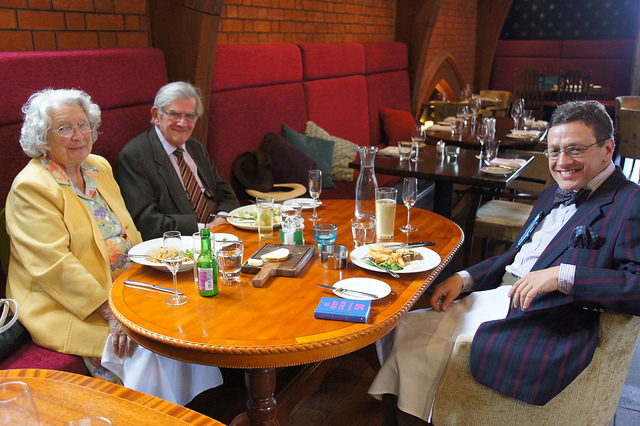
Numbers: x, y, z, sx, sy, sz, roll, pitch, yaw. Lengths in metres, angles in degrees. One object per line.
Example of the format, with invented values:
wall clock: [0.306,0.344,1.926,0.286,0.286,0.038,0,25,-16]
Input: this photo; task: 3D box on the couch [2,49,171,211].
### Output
couch: [-1.411,-0.475,2.647,0.307,0.835,0.955,11,17,33]

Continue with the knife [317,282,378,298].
knife: [0.123,0.334,1.903,0.224,0.042,0.017,10,2,15]

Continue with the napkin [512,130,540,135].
napkin: [2.402,-0.938,5.177,0.340,0.028,0.299,3,18,9]

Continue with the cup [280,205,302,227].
cup: [-0.169,0.012,2.428,0.137,0.105,0.111,1,13,19]

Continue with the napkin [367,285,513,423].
napkin: [0.516,0.553,2.078,0.527,0.219,0.703,22,41,36]

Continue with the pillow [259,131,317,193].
pillow: [-0.317,-0.468,3.987,0.516,0.463,0.492,3,18,9]

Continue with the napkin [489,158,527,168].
napkin: [1.669,-0.451,3.949,0.252,0.039,0.375,11,21,33]

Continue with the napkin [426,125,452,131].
napkin: [1.436,-1.023,5.323,0.269,0.047,0.300,6,18,19]

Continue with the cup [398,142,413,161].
cup: [0.768,-0.550,4.011,0.150,0.166,0.147,-1,11,0]

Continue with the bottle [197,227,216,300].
bottle: [-0.488,0.207,1.885,0.076,0.293,0.132,-6,19,-17]

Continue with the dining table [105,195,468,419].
dining table: [-0.149,0.464,2.095,0.702,0.387,1.115,10,25,24]

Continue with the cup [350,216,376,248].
cup: [0.223,0.099,2.358,0.141,0.152,0.132,0,13,0]

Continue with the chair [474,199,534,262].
chair: [1.654,0.148,3.965,0.529,0.377,0.793,10,21,34]

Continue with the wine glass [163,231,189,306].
wine glass: [-0.638,0.224,1.925,0.098,0.252,0.287,-7,19,-18]

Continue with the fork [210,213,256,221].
fork: [-0.530,0.025,2.752,0.030,0.031,0.288,-34,-20,20]

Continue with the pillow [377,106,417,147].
pillow: [0.977,-1.151,5.848,0.297,0.527,0.602,21,30,32]

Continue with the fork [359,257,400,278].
fork: [0.282,0.257,2.061,0.021,0.024,0.158,-48,47,-13]

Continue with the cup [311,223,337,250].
cup: [0.022,0.139,2.321,0.154,0.090,0.157,3,6,0]

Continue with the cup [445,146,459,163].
cup: [1.219,-0.541,4.106,0.159,0.144,0.146,-2,13,0]

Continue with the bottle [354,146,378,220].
bottle: [0.258,-0.165,2.493,0.110,0.399,0.203,0,18,2]
